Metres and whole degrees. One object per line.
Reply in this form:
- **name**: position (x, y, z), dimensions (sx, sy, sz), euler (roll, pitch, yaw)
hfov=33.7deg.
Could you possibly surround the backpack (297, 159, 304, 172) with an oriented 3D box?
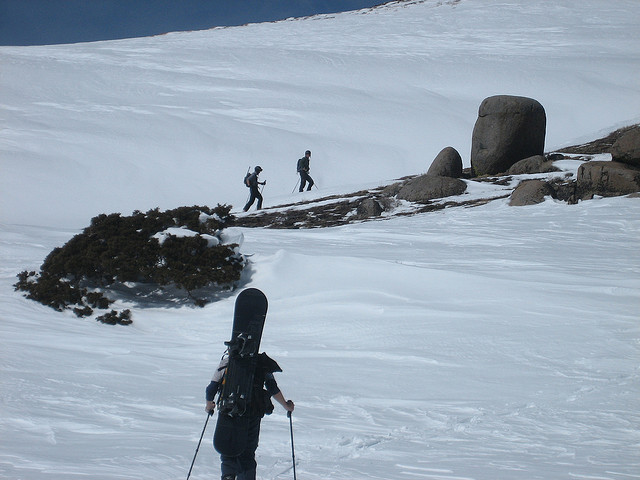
- **backpack**: position (-1.320, -5.083, 72.058), dimensions (0.386, 0.893, 0.603), euler (5, 10, 0)

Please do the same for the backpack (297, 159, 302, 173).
- **backpack**: position (-1.409, -5.110, 72.107), dimensions (0.277, 0.862, 0.594), euler (2, 10, -14)
